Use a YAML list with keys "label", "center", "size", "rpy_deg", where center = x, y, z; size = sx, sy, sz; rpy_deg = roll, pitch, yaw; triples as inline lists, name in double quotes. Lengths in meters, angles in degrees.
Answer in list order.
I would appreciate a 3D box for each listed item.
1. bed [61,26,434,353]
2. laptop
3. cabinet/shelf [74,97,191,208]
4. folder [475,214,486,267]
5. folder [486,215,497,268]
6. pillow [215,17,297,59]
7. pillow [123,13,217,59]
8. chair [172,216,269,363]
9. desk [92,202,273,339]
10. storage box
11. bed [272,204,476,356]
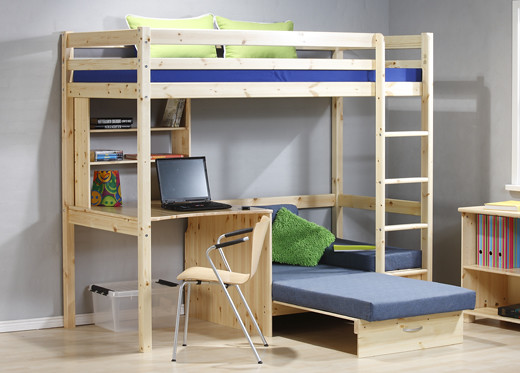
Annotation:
- label: "bed"
  center: [-0.209, 0.040, 3.908]
  size: [3.084, 2.480, 1.181]
  rpy_deg: [-2, 1, -34]
- label: "laptop"
  center: [-0.570, -0.032, 3.863]
  size: [0.568, 0.413, 0.477]
  rpy_deg: [-6, 8, -43]
- label: "cabinet/shelf"
  center: [-1.095, -0.269, 3.899]
  size: [0.999, 0.883, 0.386]
  rpy_deg: [-3, 5, -37]
- label: "folder"
  center: [1.870, 0.456, 3.976]
  size: [0.033, 0.428, 0.092]
  rpy_deg: [0, -2, -29]
- label: "folder"
  center: [1.925, 0.460, 3.911]
  size: [0.079, 0.421, 0.043]
  rpy_deg: [-2, -2, 42]
- label: "pillow"
  center: [-0.053, -1.201, 3.868]
  size: [0.747, 0.435, 0.216]
  rpy_deg: [-2, -15, -19]
- label: "pillow"
  center: [-0.710, -1.141, 3.623]
  size: [0.711, 0.434, 0.196]
  rpy_deg: [-1, -15, -24]
- label: "chair"
  center: [-0.279, 0.717, 3.257]
  size: [0.665, 0.808, 0.534]
  rpy_deg: [-1, -7, 8]
- label: "desk"
  center: [-0.638, 0.633, 3.849]
  size: [1.351, 1.002, 1.174]
  rpy_deg: [-1, 1, -34]
- label: "storage box"
  center: [-1.048, 0.980, 4.001]
  size: [0.616, 0.287, 0.412]
  rpy_deg: [-2, 2, -27]
- label: "bed"
  center: [0.719, 0.671, 3.442]
  size: [0.875, 0.346, 0.867]
  rpy_deg: [-4, 6, -32]
